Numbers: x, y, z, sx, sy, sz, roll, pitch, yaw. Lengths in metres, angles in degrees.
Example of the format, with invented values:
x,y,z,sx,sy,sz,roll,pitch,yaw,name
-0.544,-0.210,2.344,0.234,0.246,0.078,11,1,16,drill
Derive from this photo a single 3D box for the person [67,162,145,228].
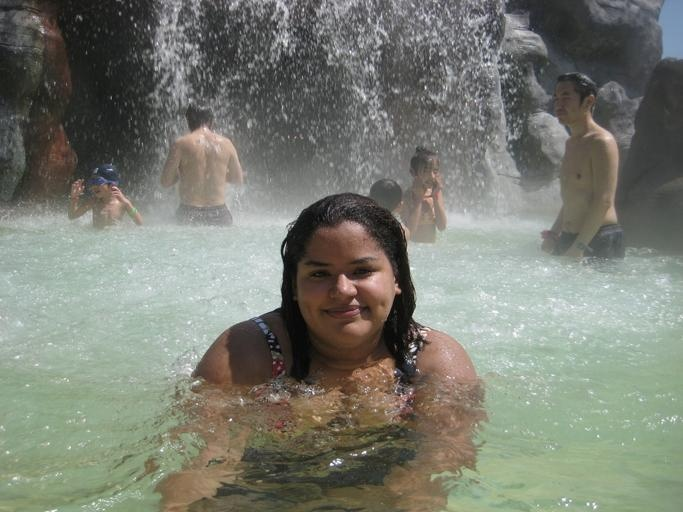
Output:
x,y,z,sx,sy,sz,roll,pitch,yaw,name
-2.660,-0.478,6.394,0.726,0.989,0.460,-2,3,-33,person

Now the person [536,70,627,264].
x,y,z,sx,sy,sz,roll,pitch,yaw,name
2.222,-0.815,5.182,0.690,1.650,0.481,7,9,40,person

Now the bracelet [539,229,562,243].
x,y,z,sx,sy,sz,roll,pitch,yaw,name
2.041,-0.192,5.531,0.133,0.068,0.181,0,9,3,bracelet

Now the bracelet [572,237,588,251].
x,y,z,sx,sy,sz,roll,pitch,yaw,name
2.160,-0.090,5.075,0.121,0.105,0.033,3,7,14,bracelet

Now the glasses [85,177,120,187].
x,y,z,sx,sy,sz,roll,pitch,yaw,name
-2.683,-0.828,6.319,0.232,0.073,0.160,4,10,-12,glasses

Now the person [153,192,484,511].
x,y,z,sx,sy,sz,roll,pitch,yaw,name
0.041,0.285,2.463,1.118,1.100,0.729,4,8,22,person

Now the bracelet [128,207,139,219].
x,y,z,sx,sy,sz,roll,pitch,yaw,name
-2.359,-0.483,6.449,0.051,0.133,0.104,-40,34,-20,bracelet
